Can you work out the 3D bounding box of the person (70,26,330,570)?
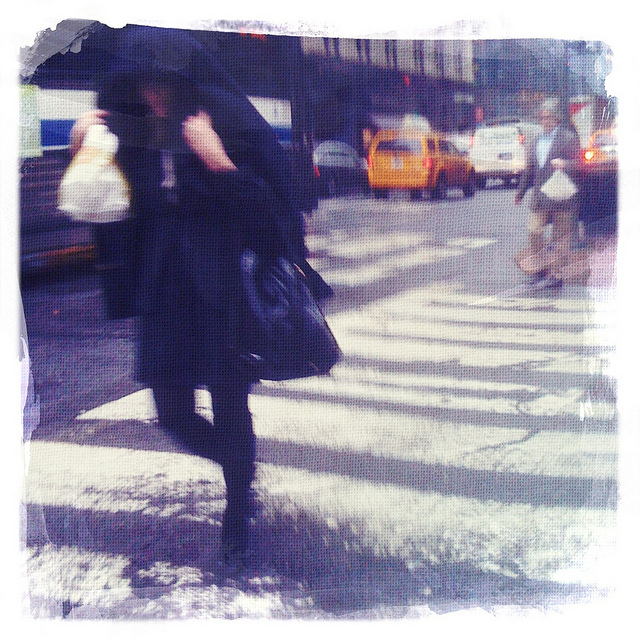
[{"bbox_3d":[-0.252,-0.058,1.774,0.474,1.091,0.310,4,17,26],"label":"person"}]
